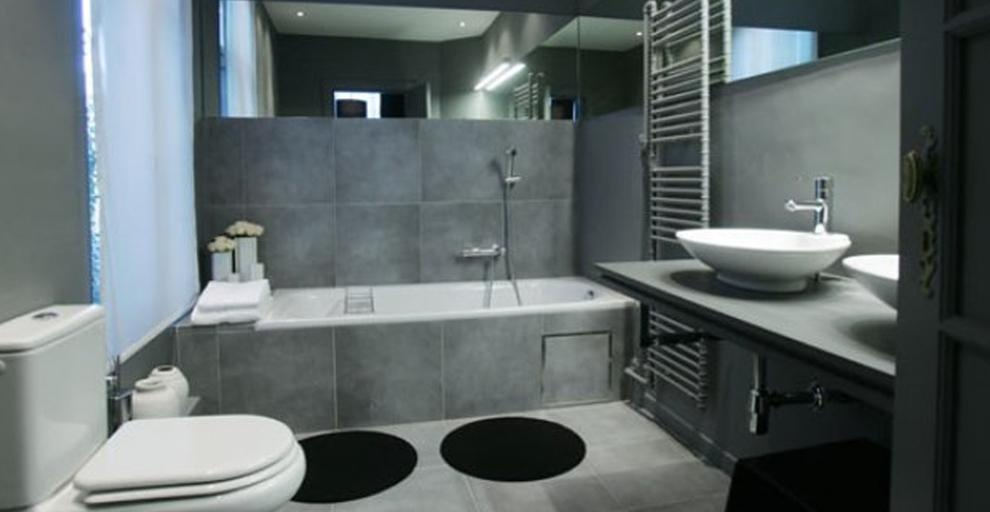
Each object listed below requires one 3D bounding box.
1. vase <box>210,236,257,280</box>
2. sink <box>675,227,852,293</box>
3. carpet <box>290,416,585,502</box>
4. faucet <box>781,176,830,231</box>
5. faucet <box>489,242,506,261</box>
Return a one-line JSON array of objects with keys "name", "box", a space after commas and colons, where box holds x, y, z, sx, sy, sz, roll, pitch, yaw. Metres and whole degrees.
[{"name": "vase", "box": [-2.026, 0.009, 5.294, 0.381, 0.308, 0.372, 10, 15, 35]}, {"name": "sink", "box": [1.321, 0.017, 3.431, 0.785, 0.265, 0.540, 0, 9, 12]}, {"name": "carpet", "box": [-0.328, 1.266, 4.383, 1.807, 0.168, 0.684, -3, 8, -8]}, {"name": "faucet", "box": [1.663, -0.282, 3.619, 0.197, 0.273, 0.383, 2, 10, 24]}, {"name": "faucet", "box": [0.016, -0.050, 5.748, 0.181, 0.122, 0.293, 1, 2, -6]}]
